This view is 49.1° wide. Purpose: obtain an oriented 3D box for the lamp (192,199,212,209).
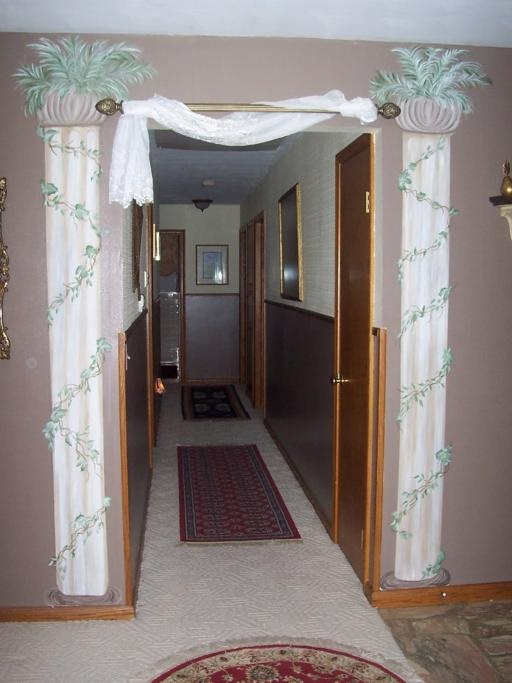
[{"bbox_3d":[-0.715,-1.872,7.660,0.260,0.112,0.223,2,5,20],"label":"lamp"}]
